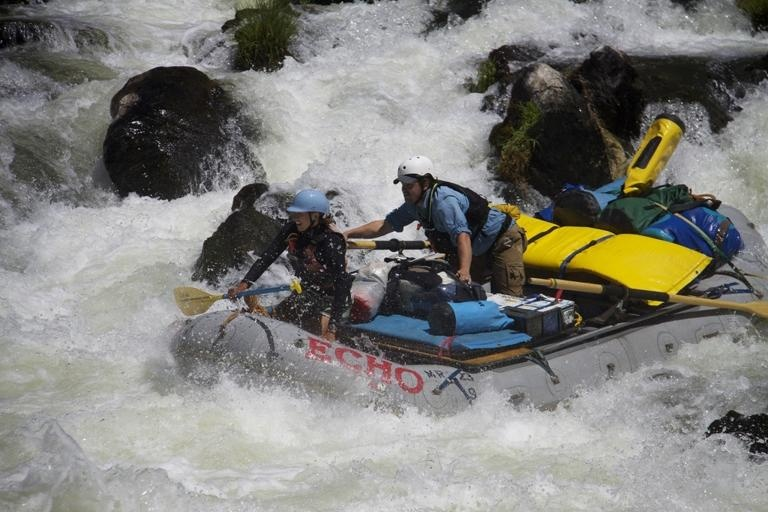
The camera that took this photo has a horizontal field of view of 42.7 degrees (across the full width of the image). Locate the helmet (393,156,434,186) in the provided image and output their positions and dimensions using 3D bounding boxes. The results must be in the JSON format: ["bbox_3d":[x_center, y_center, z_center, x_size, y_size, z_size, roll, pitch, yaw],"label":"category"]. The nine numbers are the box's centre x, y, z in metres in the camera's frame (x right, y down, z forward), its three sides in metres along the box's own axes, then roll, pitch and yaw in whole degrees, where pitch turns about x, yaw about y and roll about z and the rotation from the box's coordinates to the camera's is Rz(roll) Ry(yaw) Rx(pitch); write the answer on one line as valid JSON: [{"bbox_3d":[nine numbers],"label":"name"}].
[{"bbox_3d":[0.397,-1.152,13.446,0.498,0.228,0.350,-6,5,-27],"label":"helmet"}]

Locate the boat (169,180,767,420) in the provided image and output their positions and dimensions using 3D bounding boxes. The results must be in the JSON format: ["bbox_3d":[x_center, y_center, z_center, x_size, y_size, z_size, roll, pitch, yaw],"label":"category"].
[{"bbox_3d":[1.364,0.912,13.149,4.698,0.729,3.811,-12,20,-27],"label":"boat"}]

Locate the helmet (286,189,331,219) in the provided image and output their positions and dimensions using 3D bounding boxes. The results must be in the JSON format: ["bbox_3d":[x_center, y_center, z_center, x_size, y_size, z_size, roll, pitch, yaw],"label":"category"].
[{"bbox_3d":[-0.970,-0.652,12.862,0.468,0.219,0.351,6,6,-31],"label":"helmet"}]
